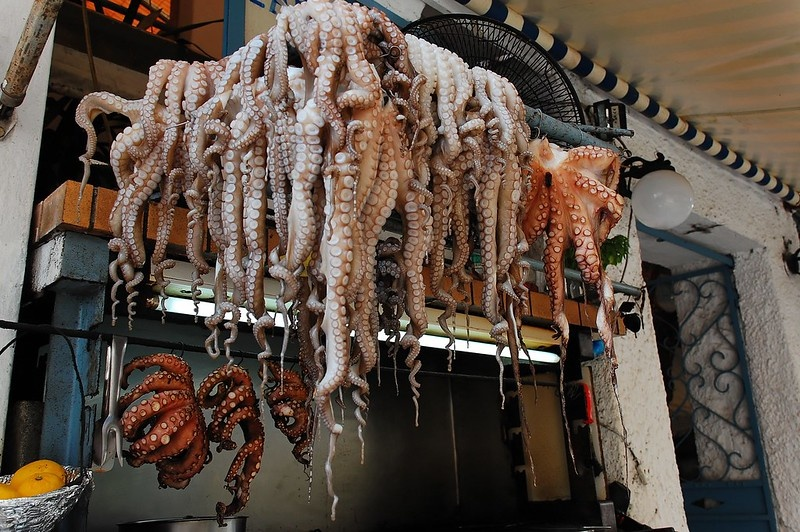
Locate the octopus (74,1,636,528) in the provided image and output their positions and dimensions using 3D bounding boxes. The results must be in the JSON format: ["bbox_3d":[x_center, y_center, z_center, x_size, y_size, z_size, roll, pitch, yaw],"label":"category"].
[{"bbox_3d":[-0.251,-0.294,3.072,1.617,1.685,2.006,3,-9,-30],"label":"octopus"}]
